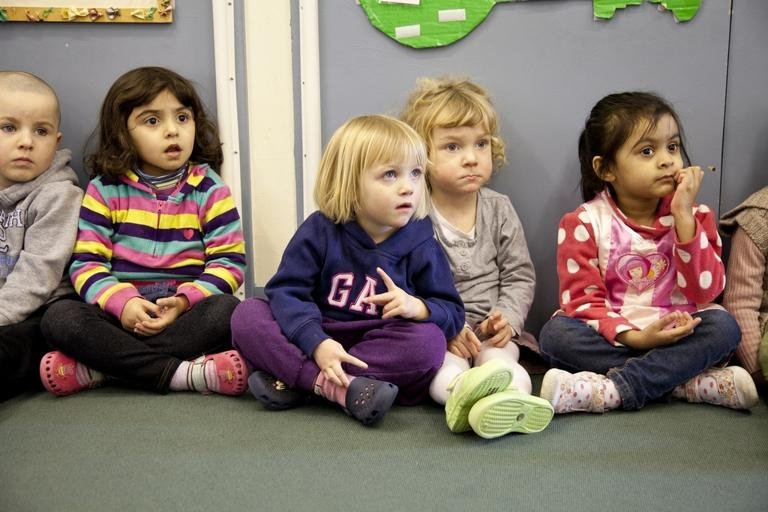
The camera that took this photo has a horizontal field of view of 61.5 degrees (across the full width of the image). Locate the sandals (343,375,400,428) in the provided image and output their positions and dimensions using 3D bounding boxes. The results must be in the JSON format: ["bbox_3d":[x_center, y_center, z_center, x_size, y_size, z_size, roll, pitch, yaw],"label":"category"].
[{"bbox_3d":[-0.035,0.347,1.526,0.051,0.085,0.130,15,8,-39],"label":"sandals"}]

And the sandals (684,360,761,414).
[{"bbox_3d":[0.839,0.338,1.640,0.081,0.080,0.192,-17,8,-43],"label":"sandals"}]

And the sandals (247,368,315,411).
[{"bbox_3d":[-0.262,0.336,1.609,0.135,0.063,0.077,2,47,-23],"label":"sandals"}]

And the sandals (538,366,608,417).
[{"bbox_3d":[0.478,0.340,1.584,0.171,0.098,0.069,-1,1,-16],"label":"sandals"}]

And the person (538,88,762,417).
[{"bbox_3d":[0.688,-0.033,1.708,0.514,0.743,0.620,2,17,11],"label":"person"}]

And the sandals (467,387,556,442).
[{"bbox_3d":[0.282,0.360,1.468,0.171,0.103,0.076,0,24,-18],"label":"sandals"}]
